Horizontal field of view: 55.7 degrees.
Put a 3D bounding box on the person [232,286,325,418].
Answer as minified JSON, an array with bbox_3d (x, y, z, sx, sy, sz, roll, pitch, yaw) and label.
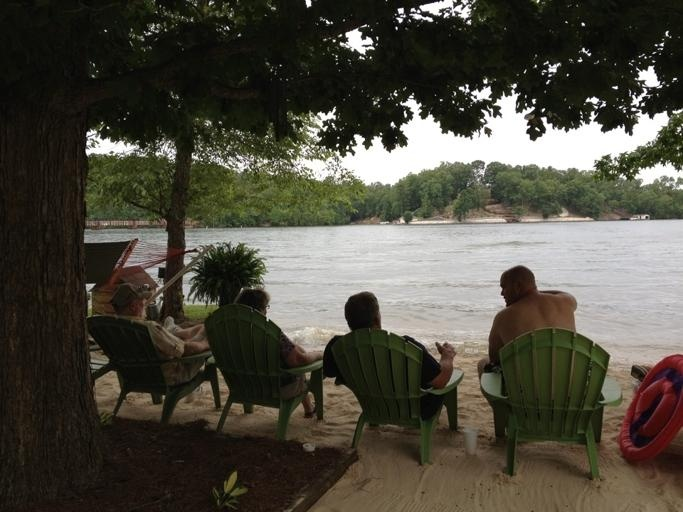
[{"bbox_3d":[-0.715,1.150,6.302,0.968,1.270,0.978,5,5,-3],"label":"person"}]

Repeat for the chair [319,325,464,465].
[{"bbox_3d":[0.468,1.135,5.751,0.994,1.096,1.197,-1,-4,20],"label":"chair"}]

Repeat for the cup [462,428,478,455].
[{"bbox_3d":[1.169,1.697,5.855,0.164,0.217,0.163,0,-11,0],"label":"cup"}]

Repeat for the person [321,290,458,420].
[{"bbox_3d":[0.526,1.081,5.631,1.146,1.184,1.145,3,16,26],"label":"person"}]

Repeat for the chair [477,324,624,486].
[{"bbox_3d":[1.901,1.241,5.924,1.201,1.419,1.458,-2,9,10],"label":"chair"}]

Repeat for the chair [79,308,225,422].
[{"bbox_3d":[-1.885,1.110,6.534,1.035,1.058,1.286,1,-1,14],"label":"chair"}]

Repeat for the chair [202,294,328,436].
[{"bbox_3d":[-0.761,1.118,6.431,1.064,1.242,1.351,1,-1,18],"label":"chair"}]

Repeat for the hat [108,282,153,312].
[{"bbox_3d":[-2.079,0.398,6.395,0.241,0.290,0.508,2,2,14],"label":"hat"}]
